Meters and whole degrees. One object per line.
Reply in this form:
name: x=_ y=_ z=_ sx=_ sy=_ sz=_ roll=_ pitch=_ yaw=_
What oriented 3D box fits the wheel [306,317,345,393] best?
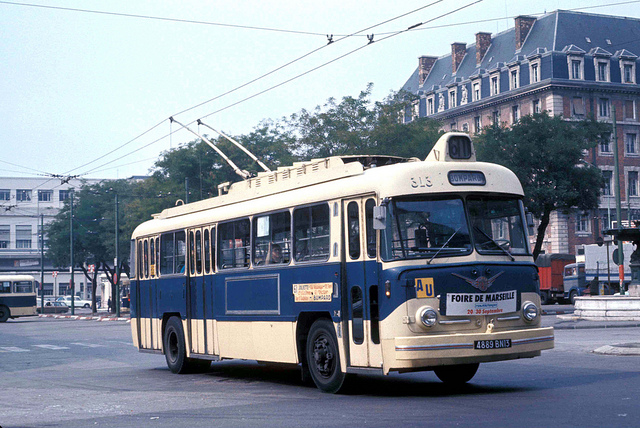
wheel: x=0.127 y=2.984 z=18.844 sx=0.411 sy=1.641 sz=1.470 roll=-4 pitch=-8 yaw=-29

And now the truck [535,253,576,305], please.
truck: x=13.587 y=4.340 z=56.478 sx=3.841 sy=2.902 sz=2.068 roll=-3 pitch=-5 yaw=-44

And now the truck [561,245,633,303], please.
truck: x=15.902 y=3.469 z=50.333 sx=5.073 sy=3.665 sz=2.688 roll=0 pitch=-3 yaw=-1
